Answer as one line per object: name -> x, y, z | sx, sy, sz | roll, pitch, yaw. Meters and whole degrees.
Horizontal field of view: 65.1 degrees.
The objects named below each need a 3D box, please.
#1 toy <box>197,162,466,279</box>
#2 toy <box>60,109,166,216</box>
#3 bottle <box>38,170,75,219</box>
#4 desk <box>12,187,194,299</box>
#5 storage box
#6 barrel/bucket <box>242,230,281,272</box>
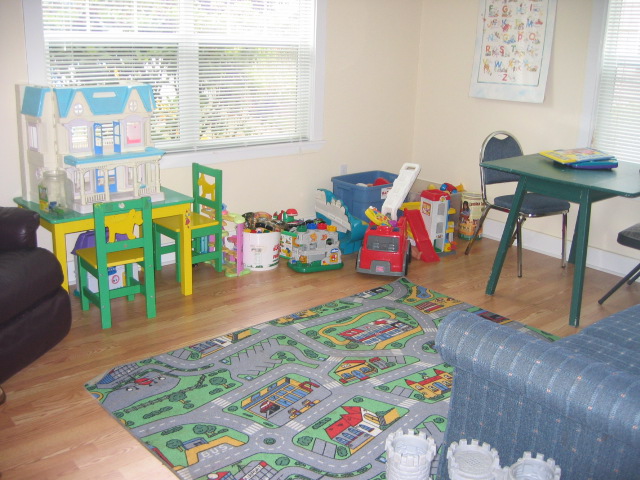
toy -> 0.323, -0.308, 4.468 | 1.698, 0.577, 1.049 | -12, 21, -30
toy -> -1.321, -0.478, 3.153 | 0.617, 0.529, 0.316 | -17, 36, -37
bottle -> -1.625, -0.297, 3.060 | 0.185, 0.243, 0.163 | -8, 20, -19
desk -> -1.385, -0.234, 3.355 | 0.961, 0.678, 0.738 | -11, 24, -32
storage box -> 0.478, -0.475, 4.614 | 0.588, 0.347, 0.462 | -16, 26, -35
barrel/bucket -> -0.423, 0.079, 3.959 | 0.308, 0.282, 0.283 | 1, 11, 0
